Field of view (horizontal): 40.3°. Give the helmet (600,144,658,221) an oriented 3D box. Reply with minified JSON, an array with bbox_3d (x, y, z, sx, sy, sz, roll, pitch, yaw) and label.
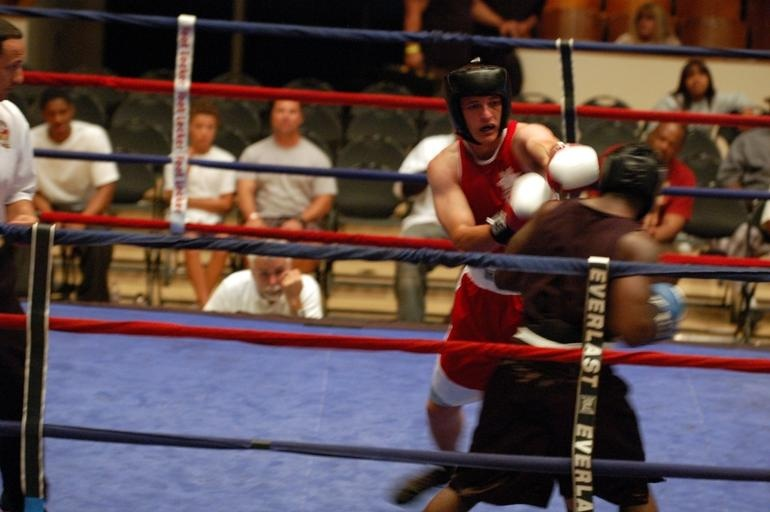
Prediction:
[{"bbox_3d":[0.951,-0.302,4.142,0.276,0.249,0.301,6,-3,-8],"label":"helmet"}]

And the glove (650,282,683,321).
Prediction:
[{"bbox_3d":[1.052,0.162,3.895,0.118,0.119,0.134,-11,-18,-13],"label":"glove"}]

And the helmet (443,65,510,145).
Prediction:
[{"bbox_3d":[0.415,-0.644,4.463,0.310,0.252,0.288,-2,-6,-6],"label":"helmet"}]

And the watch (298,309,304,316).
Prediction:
[{"bbox_3d":[-0.470,0.316,5.926,0.055,0.038,0.015,-1,2,-20],"label":"watch"}]

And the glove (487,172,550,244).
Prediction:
[{"bbox_3d":[0.545,-0.198,4.241,0.203,0.313,0.141,41,21,11],"label":"glove"}]

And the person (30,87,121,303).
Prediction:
[{"bbox_3d":[-1.896,-0.381,6.374,0.570,1.280,0.493,4,6,-6],"label":"person"}]

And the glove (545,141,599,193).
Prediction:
[{"bbox_3d":[0.731,-0.344,4.195,0.226,0.140,0.182,-16,2,-20],"label":"glove"}]
